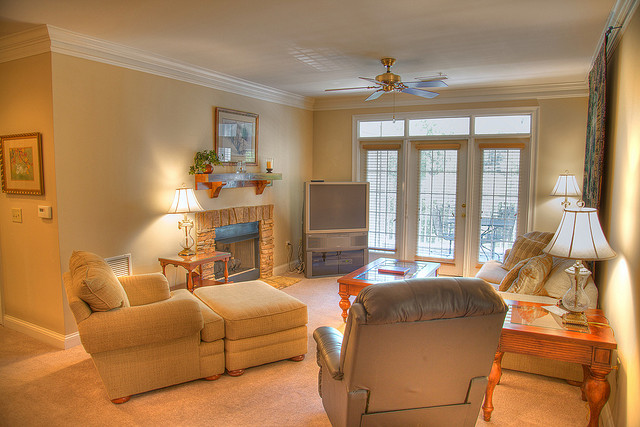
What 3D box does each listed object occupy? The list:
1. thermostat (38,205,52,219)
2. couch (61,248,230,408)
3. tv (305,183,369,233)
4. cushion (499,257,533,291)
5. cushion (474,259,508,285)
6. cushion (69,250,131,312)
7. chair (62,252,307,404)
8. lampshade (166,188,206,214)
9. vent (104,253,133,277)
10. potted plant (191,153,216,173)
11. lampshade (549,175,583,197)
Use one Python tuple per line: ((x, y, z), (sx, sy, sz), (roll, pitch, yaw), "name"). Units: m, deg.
((-3.067, -0.019, 4.871), (0.252, 0.153, 0.040), (2, 7, 34), "thermostat")
((-1.822, 1.094, 4.739), (1.596, 1.372, 1.623), (-3, 10, -29), "couch")
((0.194, -0.122, 7.644), (1.479, 1.012, 0.763), (0, 5, -10), "tv")
((2.186, 0.715, 4.910), (0.096, 0.344, 0.357), (42, 30, 16), "cushion")
((2.279, 0.781, 5.821), (0.320, 0.139, 0.619), (0, 3, 24), "cushion")
((-2.190, 0.667, 4.301), (0.452, 0.332, 0.925), (-4, 20, -39), "cushion")
((-1.430, 0.926, 4.751), (2.225, 1.228, 1.440), (-5, 9, -28), "chair")
((-1.784, -0.152, 5.790), (0.510, 0.348, 0.483), (-5, 3, -1), "lampshade")
((-2.366, 0.599, 5.085), (0.028, 0.223, 0.275), (-2, 2, 35), "vent")
((-1.615, -0.699, 6.123), (0.275, 0.298, 0.321), (2, 4, 43), "potted plant")
((3.560, -0.411, 6.369), (0.344, 0.258, 0.337), (-5, 7, -38), "lampshade")
